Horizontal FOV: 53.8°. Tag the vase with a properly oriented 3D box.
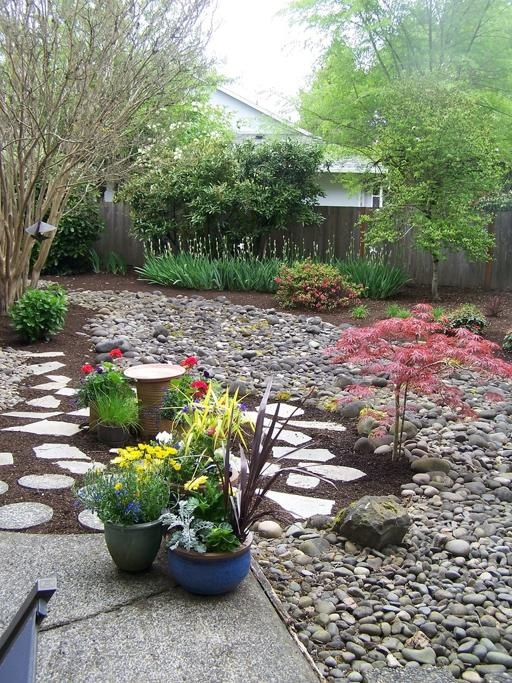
[{"bbox_3d":[-0.510,0.819,2.121,0.252,0.166,0.235,1,1,-1],"label":"vase"}]

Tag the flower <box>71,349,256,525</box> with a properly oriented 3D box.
[{"bbox_3d":[-0.360,0.474,2.714,0.780,0.464,0.731,-3,4,-11],"label":"flower"}]
